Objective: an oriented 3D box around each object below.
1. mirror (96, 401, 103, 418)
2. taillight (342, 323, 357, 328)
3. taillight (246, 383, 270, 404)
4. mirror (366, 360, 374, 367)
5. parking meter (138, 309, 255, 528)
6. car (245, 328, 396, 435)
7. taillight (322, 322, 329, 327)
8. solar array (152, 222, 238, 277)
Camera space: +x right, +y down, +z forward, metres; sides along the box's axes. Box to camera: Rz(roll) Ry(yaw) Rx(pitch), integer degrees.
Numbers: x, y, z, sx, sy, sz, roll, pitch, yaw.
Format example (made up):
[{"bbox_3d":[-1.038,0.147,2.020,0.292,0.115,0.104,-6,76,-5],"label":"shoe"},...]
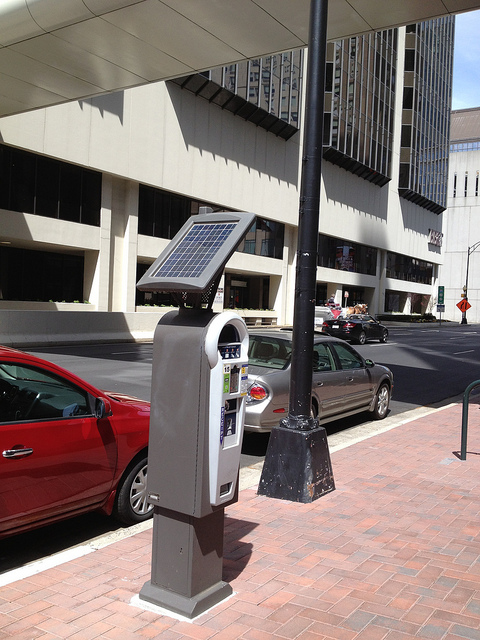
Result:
[{"bbox_3d":[-0.978,0.620,3.752,0.034,0.142,0.089,3,-3,-31],"label":"mirror"},{"bbox_3d":[5.309,0.265,26.489,0.511,0.212,0.145,3,0,12],"label":"taillight"},{"bbox_3d":[0.228,0.918,6.835,0.324,0.156,0.189,-11,14,-42],"label":"taillight"},{"bbox_3d":[2.170,0.730,9.119,0.087,0.121,0.059,3,2,16],"label":"mirror"},{"bbox_3d":[-0.223,0.478,2.753,0.510,1.081,0.395,2,0,-4],"label":"parking meter"},{"bbox_3d":[0.919,0.890,8.093,1.120,1.034,2.713,0,4,38],"label":"car"},{"bbox_3d":[4.216,0.211,26.916,0.271,0.149,0.174,7,2,37],"label":"taillight"},{"bbox_3d":[-0.235,-0.376,2.919,0.410,0.045,0.613,2,44,30],"label":"solar array"}]
